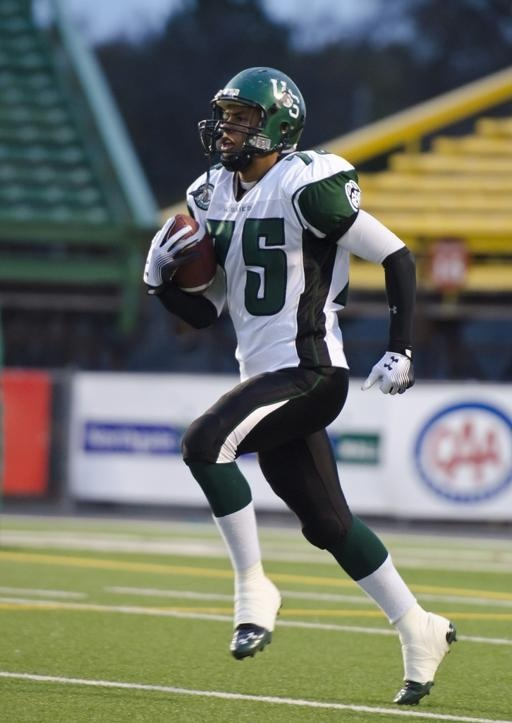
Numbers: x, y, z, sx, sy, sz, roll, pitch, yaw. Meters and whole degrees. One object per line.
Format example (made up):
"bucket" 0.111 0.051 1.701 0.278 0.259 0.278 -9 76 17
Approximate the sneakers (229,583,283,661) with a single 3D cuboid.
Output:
"sneakers" 0.021 0.664 2.627 0.100 0.118 0.239 -1 37 18

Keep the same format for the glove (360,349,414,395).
"glove" 0.381 0.049 2.863 0.125 0.065 0.144 33 71 23

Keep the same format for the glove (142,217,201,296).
"glove" -0.262 -0.321 2.934 0.081 0.223 0.165 40 -1 -35

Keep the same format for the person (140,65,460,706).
"person" 0.102 0.044 2.860 0.764 1.641 1.176 -6 24 -8

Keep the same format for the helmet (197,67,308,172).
"helmet" -0.001 -0.747 3.065 0.354 0.260 0.266 -7 16 -30
